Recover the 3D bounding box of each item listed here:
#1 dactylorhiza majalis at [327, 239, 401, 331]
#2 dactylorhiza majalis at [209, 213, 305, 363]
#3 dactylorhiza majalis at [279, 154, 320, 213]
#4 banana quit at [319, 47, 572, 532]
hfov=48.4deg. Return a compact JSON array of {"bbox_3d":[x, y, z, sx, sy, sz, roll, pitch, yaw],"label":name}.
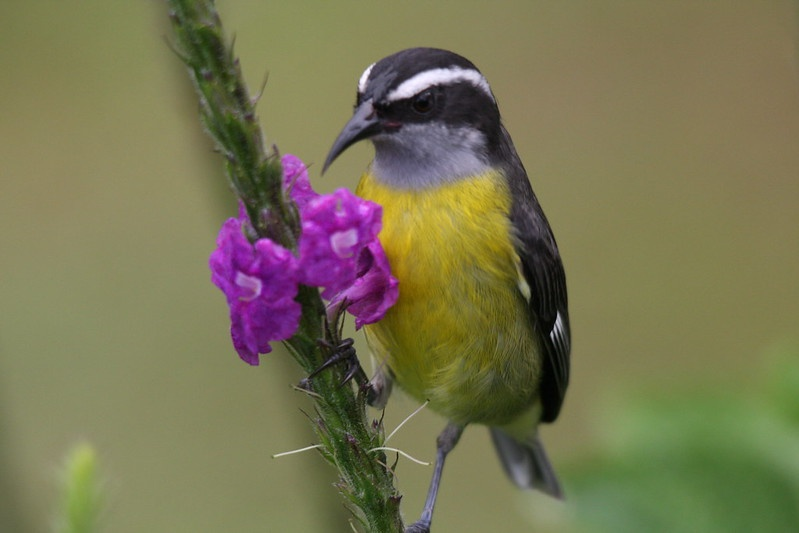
[{"bbox_3d":[-0.164,0.085,3.475,0.252,0.348,0.237,-8,14,-39],"label":"dactylorhiza majalis"},{"bbox_3d":[-0.516,0.059,3.226,0.385,0.456,0.408,-2,10,-23],"label":"dactylorhiza majalis"},{"bbox_3d":[-0.390,-0.307,3.224,0.139,0.142,0.217,-13,0,6],"label":"dactylorhiza majalis"},{"bbox_3d":[0.276,-0.091,4.545,1.114,2.695,1.403,-1,-5,5],"label":"banana quit"}]
